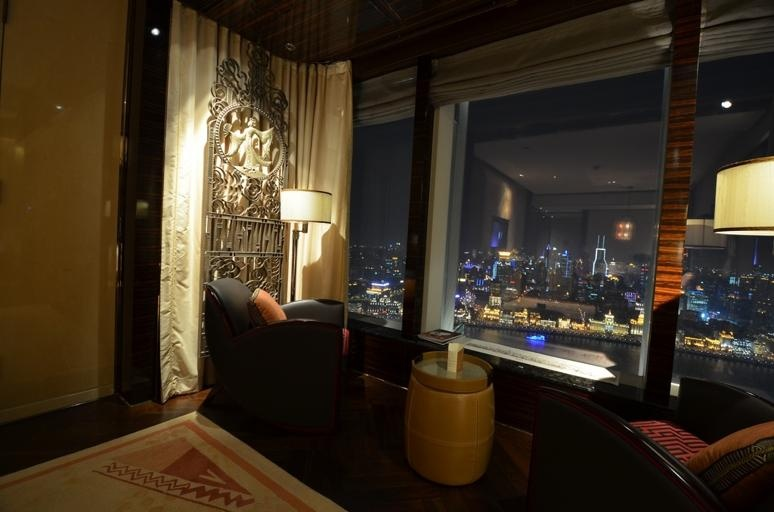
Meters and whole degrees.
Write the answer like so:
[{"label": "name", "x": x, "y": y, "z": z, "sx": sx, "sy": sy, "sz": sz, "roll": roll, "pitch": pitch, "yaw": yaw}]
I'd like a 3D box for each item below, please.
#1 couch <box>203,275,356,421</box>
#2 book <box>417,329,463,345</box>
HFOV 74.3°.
[{"label": "couch", "x": -0.933, "y": 0.786, "z": 4.019, "sx": 1.150, "sy": 0.854, "sz": 0.276, "roll": 6, "pitch": 2, "yaw": 20}, {"label": "book", "x": 0.492, "y": 0.762, "z": 4.872, "sx": 0.352, "sy": 0.110, "sz": 0.475, "roll": 6, "pitch": 2, "yaw": 25}]
